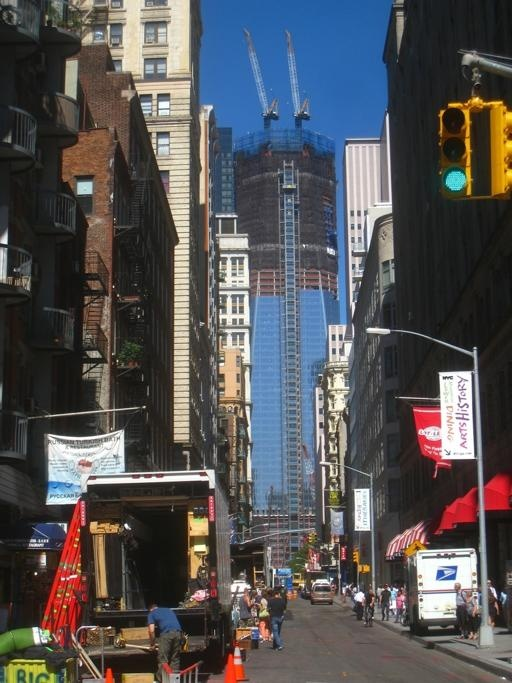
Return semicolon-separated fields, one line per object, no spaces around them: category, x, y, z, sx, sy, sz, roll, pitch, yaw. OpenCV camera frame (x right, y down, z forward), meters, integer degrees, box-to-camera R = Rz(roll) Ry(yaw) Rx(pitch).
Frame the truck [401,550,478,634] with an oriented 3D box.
truck;5.547;7.564;38.785;1.499;1.893;3.019;-1;-8;3

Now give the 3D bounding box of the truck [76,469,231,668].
truck;-1.789;4.268;23.622;2.559;3.425;4.875;1;-10;-3
